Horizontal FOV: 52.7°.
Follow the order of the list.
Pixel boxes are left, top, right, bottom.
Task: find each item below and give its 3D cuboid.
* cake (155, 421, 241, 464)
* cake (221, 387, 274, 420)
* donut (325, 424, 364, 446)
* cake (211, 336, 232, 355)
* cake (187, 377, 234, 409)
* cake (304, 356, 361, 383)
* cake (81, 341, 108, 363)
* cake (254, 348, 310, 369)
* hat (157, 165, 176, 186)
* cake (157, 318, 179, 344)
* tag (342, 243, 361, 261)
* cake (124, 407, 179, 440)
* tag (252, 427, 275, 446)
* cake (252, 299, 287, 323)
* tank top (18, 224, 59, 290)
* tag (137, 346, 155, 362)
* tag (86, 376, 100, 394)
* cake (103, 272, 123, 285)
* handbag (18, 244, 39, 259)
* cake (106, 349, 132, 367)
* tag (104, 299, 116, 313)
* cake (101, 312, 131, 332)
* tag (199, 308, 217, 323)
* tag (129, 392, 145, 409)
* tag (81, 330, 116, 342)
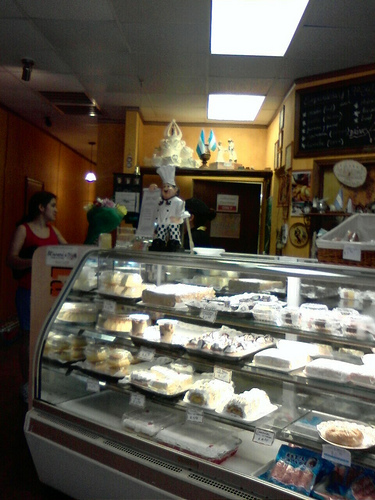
[{"bbox_3d":[0.023,0.776,1.543,0.292,0.066,0.182,-2,-10,39],"label":"cake"},{"bbox_3d":[0.219,0.591,1.459,0.172,0.070,0.226,8,-1,40],"label":"cake"},{"bbox_3d":[0.487,0.581,1.184,0.116,0.031,0.094,3,3,24],"label":"donut"},{"bbox_3d":[0.135,0.379,1.511,0.062,0.022,0.055,-14,10,31],"label":"cake"},{"bbox_3d":[0.102,0.564,1.564,0.124,0.048,0.144,3,3,26],"label":"cake"},{"bbox_3d":[0.475,0.401,1.258,0.162,0.037,0.062,4,3,33],"label":"cake"},{"bbox_3d":[-0.497,0.528,2.025,0.129,0.064,0.131,3,7,34],"label":"cake"},{"bbox_3d":[0.339,0.407,1.391,0.199,0.058,0.083,3,3,19],"label":"cake"},{"bbox_3d":[-0.108,-0.392,2.021,0.100,0.079,0.094,1,-3,-16],"label":"hat"},{"bbox_3d":[-0.085,0.355,1.668,0.099,0.087,0.095,1,-3,-3],"label":"cake"},{"bbox_3d":[0.498,0.006,1.154,0.008,0.053,0.053,-1,4,-32],"label":"tag"},{"bbox_3d":[-0.153,0.759,1.682,0.161,0.048,0.153,7,7,44],"label":"cake"},{"bbox_3d":[0.261,0.651,1.303,0.073,0.062,0.079,3,3,13],"label":"tag"},{"bbox_3d":[0.298,0.223,1.390,0.069,0.033,0.096,7,13,25],"label":"cake"},{"bbox_3d":[-1.140,0.049,2.855,0.217,0.476,0.419,2,3,-1],"label":"tank top"},{"bbox_3d":[-0.187,0.468,1.710,0.100,0.050,0.039,5,3,41],"label":"tag"},{"bbox_3d":[-0.487,0.701,1.961,0.099,0.085,0.057,-3,-9,40],"label":"tag"},{"bbox_3d":[-0.373,0.143,1.889,0.074,0.050,0.069,3,11,15],"label":"cake"},{"bbox_3d":[-1.180,0.022,2.834,0.148,0.140,0.040,9,-17,12],"label":"handbag"},{"bbox_3d":[-0.349,0.531,1.947,0.088,0.081,0.117,-2,-4,43],"label":"cake"},{"bbox_3d":[-0.382,0.279,1.882,0.066,0.047,0.007,9,1,39],"label":"tag"},{"bbox_3d":[-0.352,0.351,1.889,0.107,0.038,0.106,3,-4,-38],"label":"cake"},{"bbox_3d":[0.078,0.262,1.527,0.077,0.043,0.028,4,3,35],"label":"tag"},{"bbox_3d":[-0.225,0.673,1.700,0.072,0.067,0.019,2,-7,40],"label":"tag"},{"bbox_3d":[-0.447,0.441,1.936,0.094,0.022,0.063,7,-3,32],"label":"tag"}]
